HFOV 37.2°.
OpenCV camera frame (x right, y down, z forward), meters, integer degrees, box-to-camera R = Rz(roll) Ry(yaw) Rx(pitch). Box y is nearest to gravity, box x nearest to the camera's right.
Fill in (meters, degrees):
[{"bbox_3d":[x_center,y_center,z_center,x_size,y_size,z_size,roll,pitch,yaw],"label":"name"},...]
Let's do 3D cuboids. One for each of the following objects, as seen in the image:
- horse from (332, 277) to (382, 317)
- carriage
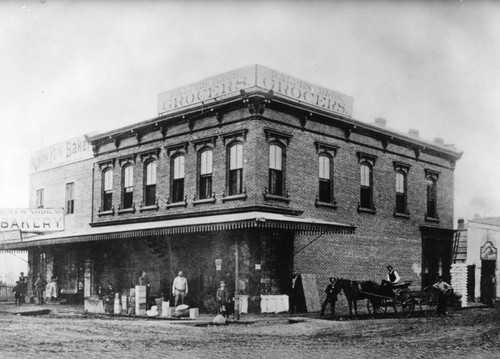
[{"bbox_3d":[4.942,5.389,33.965,2.813,1.794,0.689,2,-3,-29],"label":"horse"},{"bbox_3d":[6.195,5.443,34.189,4.626,1.496,2.130,6,-18,-14],"label":"carriage"}]
